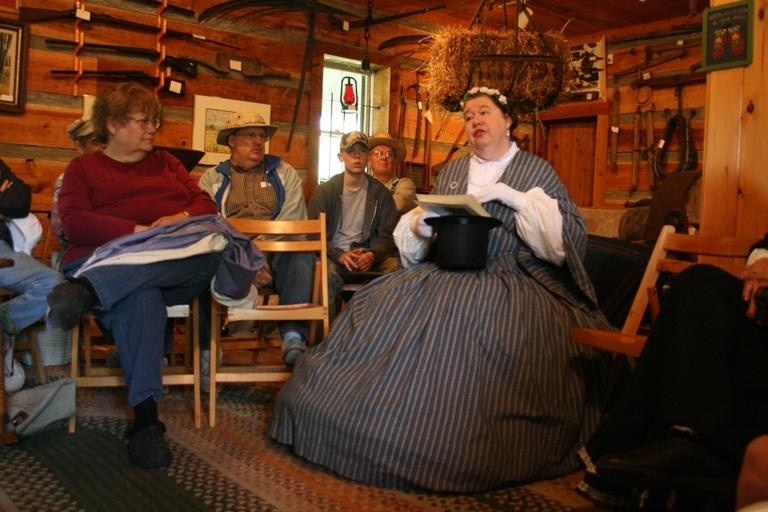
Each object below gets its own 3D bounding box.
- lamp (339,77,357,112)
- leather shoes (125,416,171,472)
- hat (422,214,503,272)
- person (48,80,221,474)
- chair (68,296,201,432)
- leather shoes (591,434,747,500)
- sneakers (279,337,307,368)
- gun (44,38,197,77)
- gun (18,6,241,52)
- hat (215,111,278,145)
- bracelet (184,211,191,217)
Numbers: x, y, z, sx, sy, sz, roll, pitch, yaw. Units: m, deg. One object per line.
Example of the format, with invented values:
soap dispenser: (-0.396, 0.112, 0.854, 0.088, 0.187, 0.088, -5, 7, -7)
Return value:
lamp: (-0.356, -1.644, 6.135, 0.229, 0.344, 0.145, -5, 9, -41)
leather shoes: (-1.073, 0.833, 2.694, 0.200, 0.071, 0.246, 5, 35, -36)
hat: (0.363, -0.050, 2.928, 0.385, 0.215, 0.364, 5, -9, -40)
person: (-1.207, -0.005, 3.041, 0.746, 1.719, 1.194, -5, 13, -26)
chair: (-1.483, 0.607, 3.421, 0.647, 0.705, 0.789, 1, -11, -31)
leather shoes: (0.947, 0.688, 2.007, 0.447, 0.197, 0.101, 4, 12, 13)
sneakers: (-0.503, 0.526, 3.385, 0.116, 0.095, 0.205, -11, 17, 5)
gun: (-2.234, -1.727, 5.229, 1.283, 0.226, 0.070, -6, 14, -41)
gun: (-2.244, -2.019, 5.256, 1.596, 0.217, 0.203, -5, 13, -30)
hat: (-0.895, -0.887, 3.995, 0.324, 0.104, 0.338, -11, 7, -11)
bracelet: (-1.044, -0.224, 3.190, 0.033, 0.007, 0.031, 10, 25, -22)
